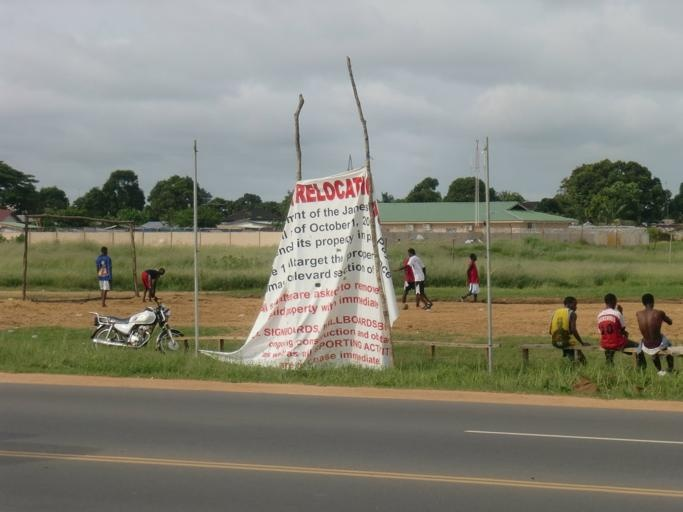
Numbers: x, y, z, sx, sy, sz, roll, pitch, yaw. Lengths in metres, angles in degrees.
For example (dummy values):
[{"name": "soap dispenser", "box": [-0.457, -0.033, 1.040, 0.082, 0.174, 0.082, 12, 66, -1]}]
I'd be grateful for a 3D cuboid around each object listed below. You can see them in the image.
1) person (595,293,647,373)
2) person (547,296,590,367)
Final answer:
[{"name": "person", "box": [7.124, 1.917, 33.282, 1.057, 2.008, 1.202, -2, 1, -4]}, {"name": "person", "box": [5.919, 1.942, 33.699, 0.873, 1.986, 0.980, 10, 26, 28]}]
